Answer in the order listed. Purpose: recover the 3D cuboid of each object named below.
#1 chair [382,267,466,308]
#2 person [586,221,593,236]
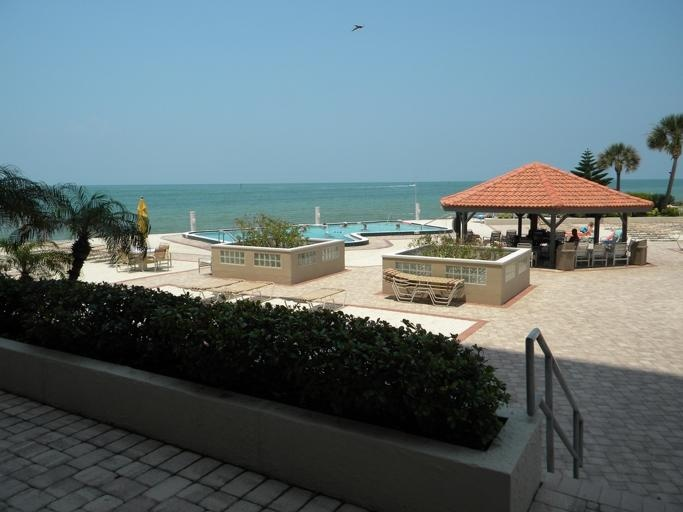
[{"bbox_3d":[2.422,0.932,13.148,1.914,0.710,0.839,4,7,29],"label":"chair"},{"bbox_3d":[12.800,-1.397,23.563,0.255,0.625,0.957,4,7,27],"label":"person"}]
